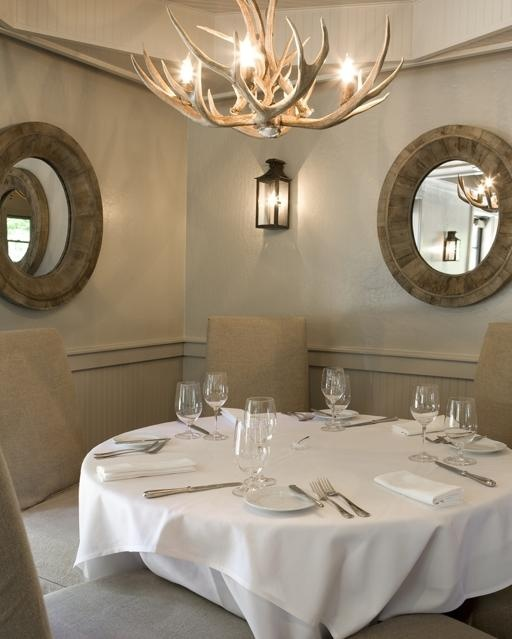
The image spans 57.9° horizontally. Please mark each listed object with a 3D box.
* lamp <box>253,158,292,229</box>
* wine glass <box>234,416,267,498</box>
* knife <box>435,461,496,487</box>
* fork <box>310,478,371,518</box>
[{"bbox_3d":[0.123,-0.958,3.543,0.269,0.510,0.191,1,1,12],"label":"lamp"},{"bbox_3d":[-0.015,0.301,1.062,0.071,0.199,0.266,1,0,-2],"label":"wine glass"},{"bbox_3d":[0.534,0.388,1.206,0.029,0.019,0.195,-40,16,-12],"label":"knife"},{"bbox_3d":[0.174,0.392,1.026,0.032,0.023,0.136,-12,15,-14],"label":"fork"}]
